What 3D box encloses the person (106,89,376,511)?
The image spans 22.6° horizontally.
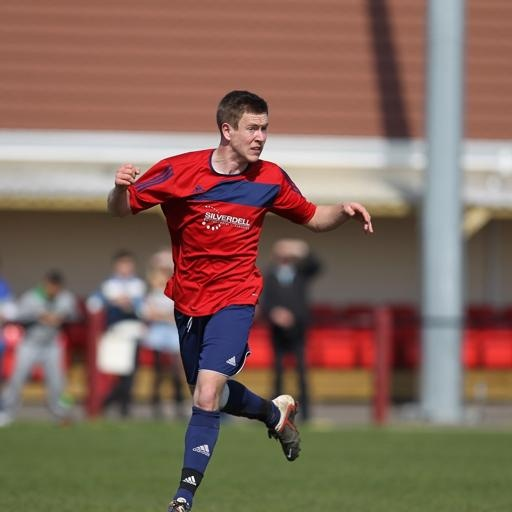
[{"bbox_3d":[-0.187,0.151,7.043,1.287,2.084,0.809,-10,15,-35],"label":"person"}]
